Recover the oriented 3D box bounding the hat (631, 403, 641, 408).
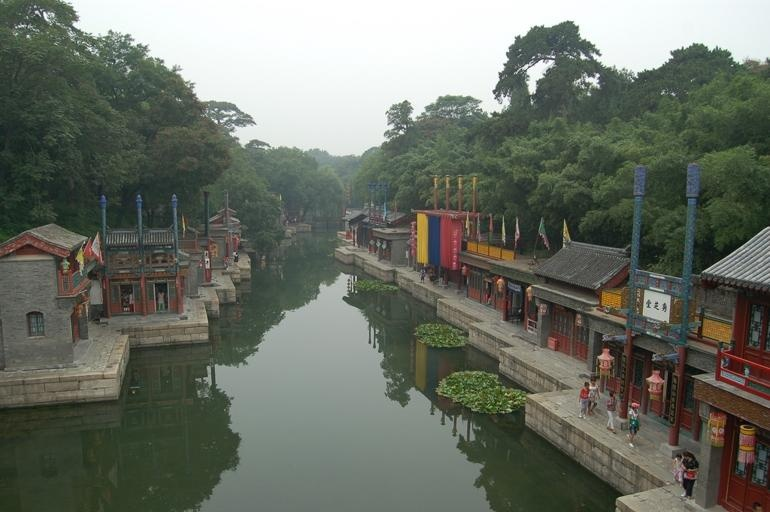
[{"bbox_3d":[10.924,6.488,28.865,0.306,0.144,0.437,-8,-5,9],"label":"hat"}]
